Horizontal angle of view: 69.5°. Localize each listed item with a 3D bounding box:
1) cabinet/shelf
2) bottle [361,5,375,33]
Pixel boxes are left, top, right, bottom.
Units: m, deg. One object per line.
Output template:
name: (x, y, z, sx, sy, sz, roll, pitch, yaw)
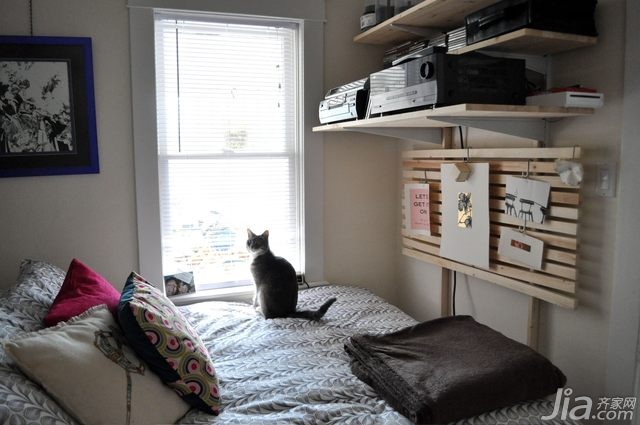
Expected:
cabinet/shelf: (0.749, -0.806, 2.687, 0.856, 0.804, 1.306, -6, 10, -28)
bottle: (0.336, -1.348, 3.250, 0.168, 0.154, 0.165, 0, 4, 4)
